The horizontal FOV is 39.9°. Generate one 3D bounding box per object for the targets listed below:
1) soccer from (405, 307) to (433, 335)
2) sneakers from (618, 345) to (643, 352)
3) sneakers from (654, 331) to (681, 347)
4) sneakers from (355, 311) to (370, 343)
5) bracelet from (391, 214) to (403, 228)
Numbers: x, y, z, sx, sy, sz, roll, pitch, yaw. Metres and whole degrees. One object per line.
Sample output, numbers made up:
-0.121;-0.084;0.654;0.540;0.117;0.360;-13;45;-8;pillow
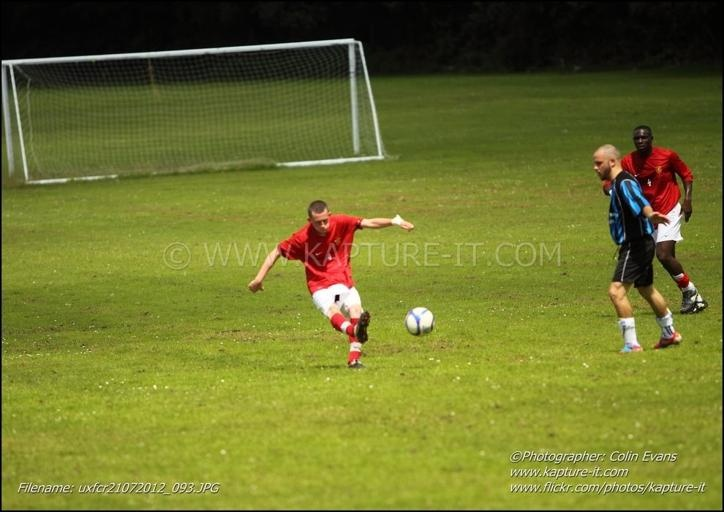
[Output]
1.004;1.212;17.681;0.466;0.554;0.418;-7;11;-3;soccer
4.631;1.616;17.190;0.289;0.110;0.142;0;0;12;sneakers
5.302;1.483;17.474;0.505;0.212;0.196;-21;9;11;sneakers
0.035;1.234;17.102;0.213;0.563;0.261;8;7;-33;sneakers
0.619;-0.609;17.479;0.164;0.200;0.095;1;-6;11;bracelet
